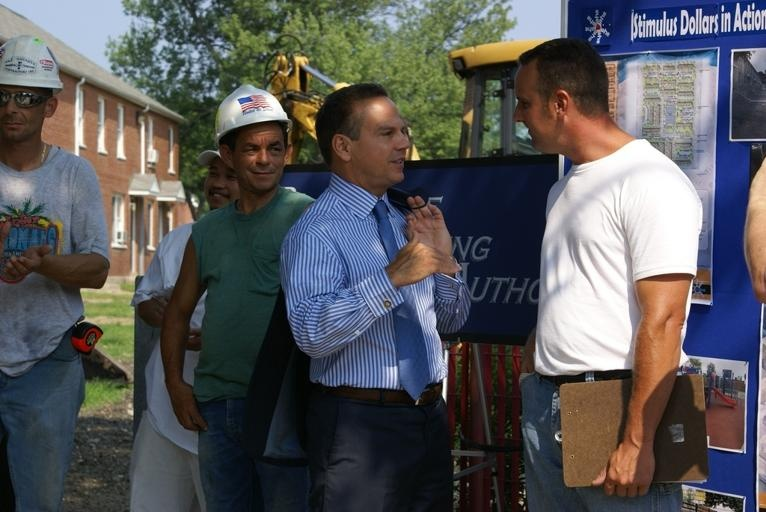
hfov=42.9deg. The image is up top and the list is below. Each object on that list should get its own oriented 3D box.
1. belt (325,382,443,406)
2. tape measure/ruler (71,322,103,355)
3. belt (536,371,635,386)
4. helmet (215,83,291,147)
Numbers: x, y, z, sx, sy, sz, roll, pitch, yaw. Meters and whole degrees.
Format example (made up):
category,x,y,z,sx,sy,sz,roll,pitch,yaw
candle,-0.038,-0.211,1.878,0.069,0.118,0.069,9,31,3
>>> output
category,x,y,z,sx,sy,sz,roll,pitch,yaw
belt,-0.028,0.797,5.646,0.739,0.107,0.154,2,1,-7
tape measure/ruler,-1.989,0.529,6.511,0.128,0.227,0.172,30,22,25
belt,1.179,0.690,5.502,0.441,0.090,0.068,3,1,28
helmet,-0.887,-0.997,6.480,0.528,0.353,0.662,-15,-3,-19
